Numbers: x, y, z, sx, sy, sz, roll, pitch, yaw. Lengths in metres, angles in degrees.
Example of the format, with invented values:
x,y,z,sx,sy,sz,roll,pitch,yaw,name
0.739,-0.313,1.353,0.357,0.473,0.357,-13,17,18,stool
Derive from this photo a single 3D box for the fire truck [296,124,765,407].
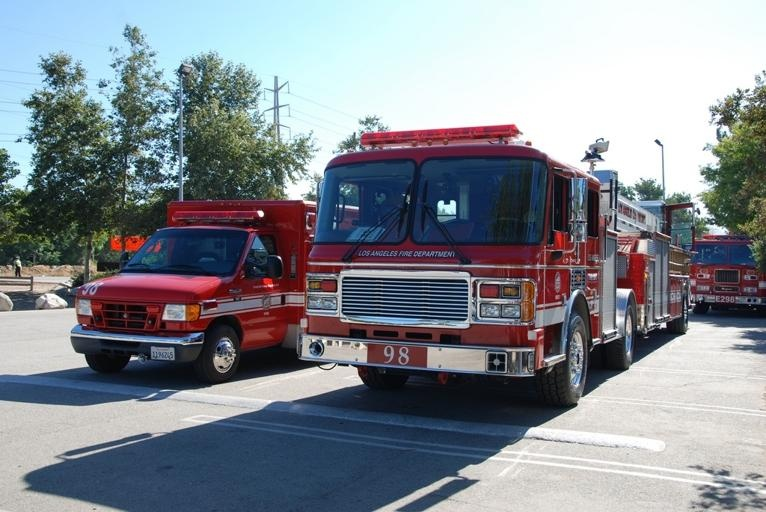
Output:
x,y,z,sx,sy,sz,roll,pitch,yaw,name
5.557,0.190,15.958,3.656,4.607,18.989,3,3,35,fire truck
